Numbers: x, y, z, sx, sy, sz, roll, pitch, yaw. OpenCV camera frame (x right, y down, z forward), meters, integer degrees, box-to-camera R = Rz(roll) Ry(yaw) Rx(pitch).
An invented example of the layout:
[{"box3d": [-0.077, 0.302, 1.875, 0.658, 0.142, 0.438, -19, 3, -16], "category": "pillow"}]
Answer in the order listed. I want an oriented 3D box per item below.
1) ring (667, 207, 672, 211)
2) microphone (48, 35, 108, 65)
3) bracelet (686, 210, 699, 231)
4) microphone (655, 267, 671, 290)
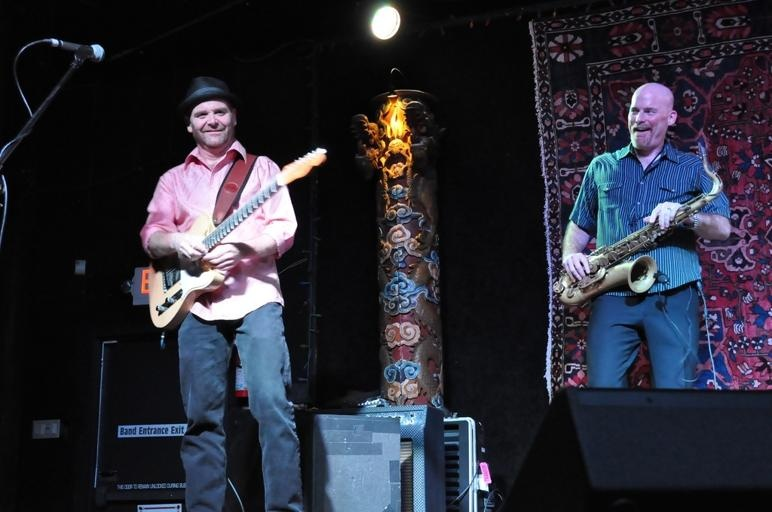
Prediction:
[{"box3d": [1.656, -0.277, 5.939, 0.019, 0.020, 0.005, -23, -34, 15], "category": "ring"}, {"box3d": [-1.744, -1.154, 5.687, 0.280, 0.202, 0.332, 0, -9, -13], "category": "microphone"}, {"box3d": [1.804, -0.203, 5.987, 0.071, 0.092, 0.038, -12, 7, 12], "category": "bracelet"}, {"box3d": [1.636, 0.127, 6.012, 0.083, 0.111, 0.037, 6, -5, 18], "category": "microphone"}]
